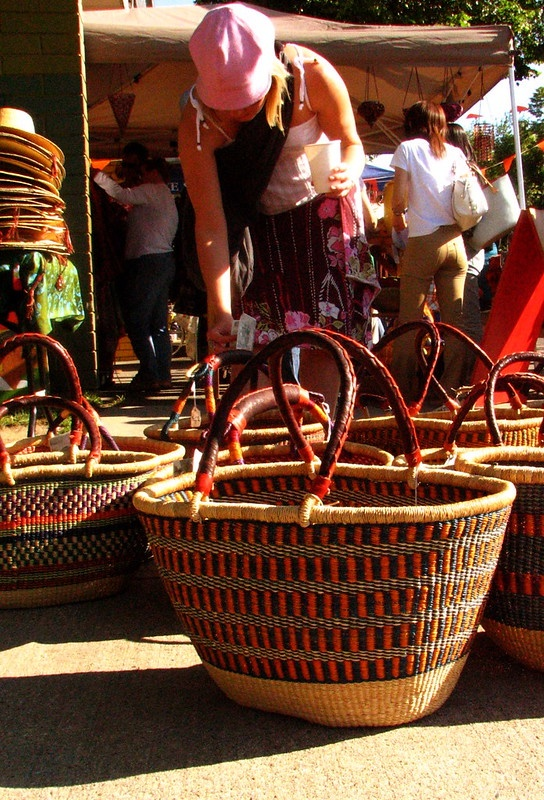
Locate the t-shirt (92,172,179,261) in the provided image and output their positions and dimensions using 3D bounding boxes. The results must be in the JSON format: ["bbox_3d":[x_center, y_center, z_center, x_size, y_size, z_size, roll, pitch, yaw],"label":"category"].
[{"bbox_3d":[-1.078,-1.401,5.067,0.682,0.594,0.549,7,9,1],"label":"t-shirt"}]

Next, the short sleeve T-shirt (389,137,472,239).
[{"bbox_3d":[0.868,-1.146,3.594,0.420,0.526,0.231,-2,1,2],"label":"short sleeve T-shirt"}]

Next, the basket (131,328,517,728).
[{"bbox_3d":[0.079,0.181,1.048,0.592,0.543,0.333,-8,-2,38],"label":"basket"}]

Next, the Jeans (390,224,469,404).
[{"bbox_3d":[0.951,-0.503,3.762,0.432,0.895,0.248,-8,13,-18],"label":"Jeans"}]

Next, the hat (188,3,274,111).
[{"bbox_3d":[-0.088,-0.769,1.484,0.178,0.249,0.126,-2,-15,-3],"label":"hat"}]

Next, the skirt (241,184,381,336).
[{"bbox_3d":[0.091,-0.389,2.155,0.466,0.518,0.271,2,24,27],"label":"skirt"}]
